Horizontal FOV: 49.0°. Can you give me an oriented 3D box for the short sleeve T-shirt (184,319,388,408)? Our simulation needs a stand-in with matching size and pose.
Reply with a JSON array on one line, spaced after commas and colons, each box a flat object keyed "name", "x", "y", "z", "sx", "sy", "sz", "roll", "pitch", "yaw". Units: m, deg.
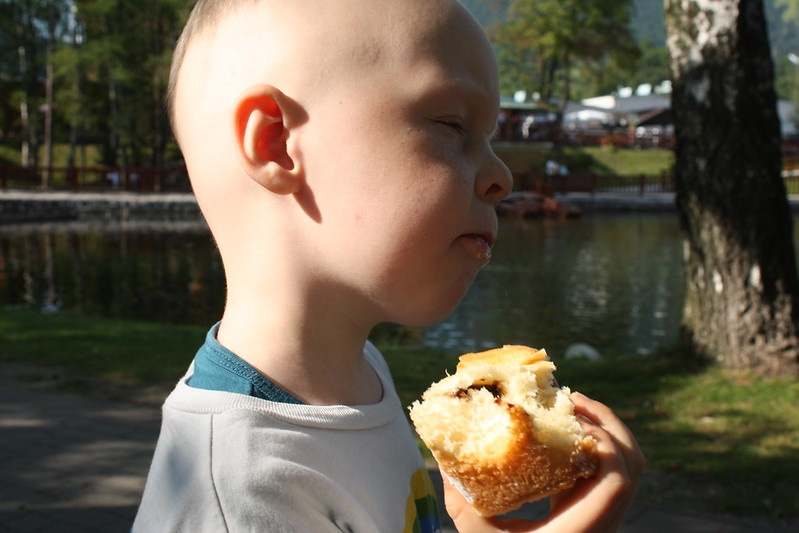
[{"name": "short sleeve T-shirt", "x": -0.835, "y": 0.524, "z": 4.732, "sx": 0.460, "sy": 0.270, "sz": 0.376, "roll": 24, "pitch": -1, "yaw": 9}]
